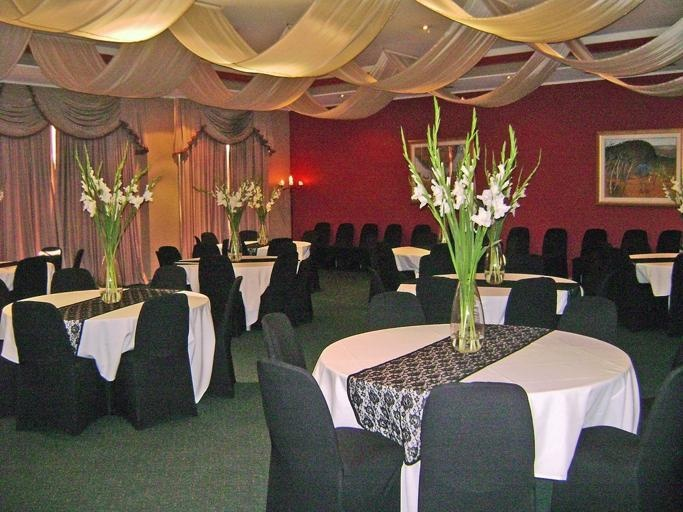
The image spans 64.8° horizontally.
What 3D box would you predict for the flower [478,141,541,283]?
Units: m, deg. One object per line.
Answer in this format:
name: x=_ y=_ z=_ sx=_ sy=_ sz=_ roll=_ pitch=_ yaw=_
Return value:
flower: x=1.499 y=-0.455 z=5.161 sx=0.549 sy=1.035 sz=0.750 roll=-9 pitch=-13 yaw=-5
